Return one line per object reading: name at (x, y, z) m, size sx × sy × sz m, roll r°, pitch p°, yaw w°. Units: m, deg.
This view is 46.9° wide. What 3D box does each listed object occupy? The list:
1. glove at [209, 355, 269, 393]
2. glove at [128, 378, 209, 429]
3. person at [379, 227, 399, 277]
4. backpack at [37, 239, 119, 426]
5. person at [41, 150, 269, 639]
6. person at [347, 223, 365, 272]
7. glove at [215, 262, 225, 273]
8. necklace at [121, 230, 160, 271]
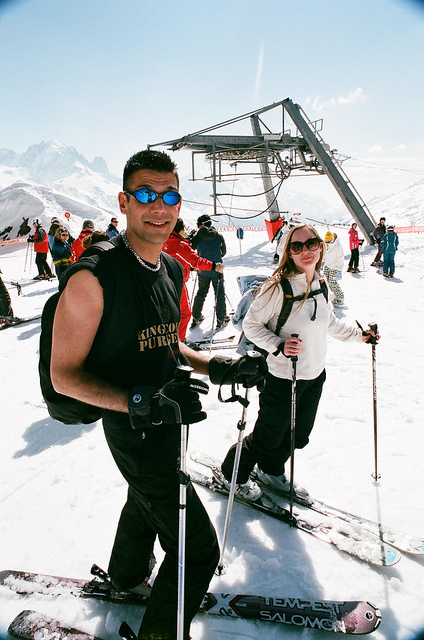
glove at (0.154, 0.304, 2.758) m, size 0.284 × 0.197 × 0.109 m, roll 5°, pitch 23°, yaw -3°
glove at (-0.199, 0.386, 2.251) m, size 0.291 × 0.117 × 0.228 m, roll -5°, pitch 53°, yaw 2°
person at (4.689, -1.812, 12.995) m, size 0.390 × 1.379 × 0.835 m, roll 1°, pitch 16°, yaw 19°
backpack at (-0.621, 0.115, 2.360) m, size 0.442 × 0.950 × 0.279 m, roll -9°, pitch 16°, yaw -20°
person at (-0.292, 0.450, 2.577) m, size 0.734 × 2.606 × 0.931 m, roll 4°, pitch 17°, yaw 28°
person at (4.352, -2.246, 14.989) m, size 0.427 × 1.412 × 1.437 m, roll 0°, pitch 15°, yaw 16°
glove at (0.107, -0.755, 6.873) m, size 0.126 × 0.162 × 0.161 m, roll 0°, pitch -4°, yaw -2°
necklace at (-0.369, -0.374, 2.533) m, size 0.230 × 0.180 × 0.015 m, roll 42°, pitch 40°, yaw 8°
